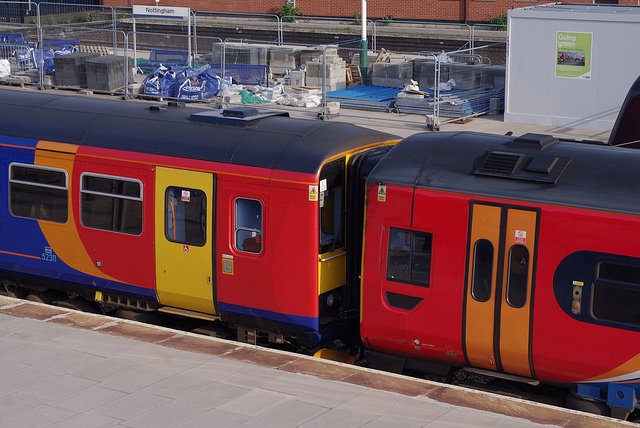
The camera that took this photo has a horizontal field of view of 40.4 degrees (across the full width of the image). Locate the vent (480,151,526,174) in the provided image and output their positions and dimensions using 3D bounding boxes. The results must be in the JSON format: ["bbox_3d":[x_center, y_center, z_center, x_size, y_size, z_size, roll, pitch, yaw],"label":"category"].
[{"bbox_3d":[2.857,-0.812,13.747,0.630,0.288,0.375,3,15,17],"label":"vent"}]

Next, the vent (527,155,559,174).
[{"bbox_3d":[3.451,-0.774,13.606,0.331,0.232,0.401,10,18,36],"label":"vent"}]
